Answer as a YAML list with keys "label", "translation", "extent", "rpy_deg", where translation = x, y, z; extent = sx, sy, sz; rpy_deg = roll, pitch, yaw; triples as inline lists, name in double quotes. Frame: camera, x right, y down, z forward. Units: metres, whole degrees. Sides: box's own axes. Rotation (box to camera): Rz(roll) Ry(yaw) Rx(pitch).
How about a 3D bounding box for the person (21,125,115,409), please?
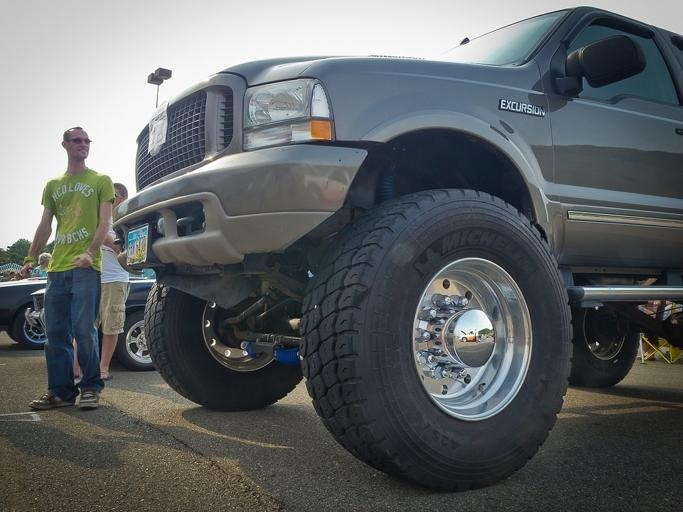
- label: "person"
  translation: [-2.394, 0.059, 4.072]
  extent: [0.900, 2.438, 0.517]
  rpy_deg: [0, -2, 30]

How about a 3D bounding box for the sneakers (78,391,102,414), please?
- label: "sneakers"
  translation: [-2.106, 1.206, 3.876]
  extent: [0.089, 0.114, 0.264]
  rpy_deg: [3, -17, -12]

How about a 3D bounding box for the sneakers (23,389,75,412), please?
- label: "sneakers"
  translation: [-2.420, 1.213, 3.880]
  extent: [0.372, 0.162, 0.134]
  rpy_deg: [14, -18, -40]
